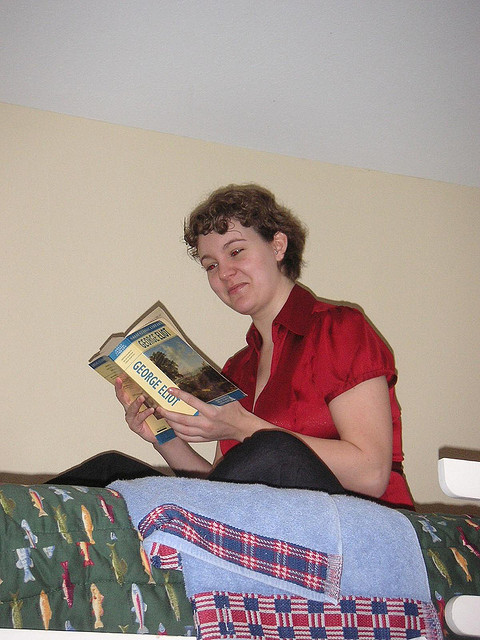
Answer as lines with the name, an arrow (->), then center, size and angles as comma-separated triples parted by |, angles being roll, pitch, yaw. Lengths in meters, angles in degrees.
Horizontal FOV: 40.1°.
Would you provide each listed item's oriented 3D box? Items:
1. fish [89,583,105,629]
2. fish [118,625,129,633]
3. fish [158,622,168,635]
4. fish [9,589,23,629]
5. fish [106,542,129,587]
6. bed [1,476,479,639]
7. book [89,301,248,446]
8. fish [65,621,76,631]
fish -> -0.175, 0.348, 0.804 | 0.017, 0.053, 0.026 | -4, 0, -7
fish -> -0.142, 0.375, 0.801 | 0.013, 0.009, 0.008 | -3, 0, -14
fish -> -0.097, 0.382, 0.817 | 0.011, 0.014, 0.009 | -3, 0, -5
fish -> -0.258, 0.332, 0.756 | 0.014, 0.044, 0.023 | -4, 1, -19
fish -> -0.162, 0.312, 0.838 | 0.028, 0.045, 0.015 | -1, -24, -38
bed -> 0.007, 0.266, 0.865 | 0.543, 0.116, 0.293 | 1, 12, -15
book -> -0.092, 0.105, 1.245 | 0.311, 0.086, 0.298 | -15, 34, -35
fish -> -0.203, 0.362, 0.777 | 0.010, 0.011, 0.013 | -3, 0, -16
